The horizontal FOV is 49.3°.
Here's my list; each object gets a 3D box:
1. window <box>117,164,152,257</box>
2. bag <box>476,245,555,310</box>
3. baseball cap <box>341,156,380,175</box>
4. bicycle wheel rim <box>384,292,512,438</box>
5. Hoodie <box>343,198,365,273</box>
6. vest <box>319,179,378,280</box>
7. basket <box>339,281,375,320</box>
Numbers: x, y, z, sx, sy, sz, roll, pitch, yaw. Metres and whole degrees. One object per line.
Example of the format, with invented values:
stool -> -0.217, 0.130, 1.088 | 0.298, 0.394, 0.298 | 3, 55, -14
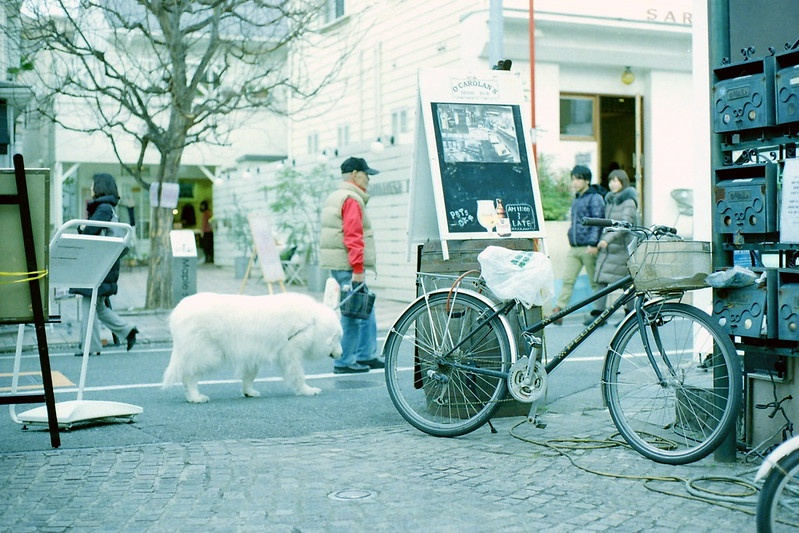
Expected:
window -> -9.888, -1.934, 32.123 | 1.746, 3.305, 1.619 | -3, 6, -31
bag -> 1.107, 0.069, 8.229 | 0.659, 0.299, 0.492 | 24, 54, 14
baseball cap -> -0.521, -1.302, 11.274 | 0.418, 0.219, 0.269 | -3, 8, -16
bicycle wheel rim -> 0.559, 0.953, 9.013 | 1.229, 1.801, 1.355 | 0, -2, 9
Hoodie -> -0.574, -0.381, 10.851 | 0.259, 0.960, 0.211 | -1, 2, -5
vest -> -0.683, -0.552, 11.545 | 0.898, 1.604, 1.131 | -2, 6, -10
basket -> -0.537, 0.398, 10.698 | 0.453, 0.481, 0.334 | 8, 1, -8
